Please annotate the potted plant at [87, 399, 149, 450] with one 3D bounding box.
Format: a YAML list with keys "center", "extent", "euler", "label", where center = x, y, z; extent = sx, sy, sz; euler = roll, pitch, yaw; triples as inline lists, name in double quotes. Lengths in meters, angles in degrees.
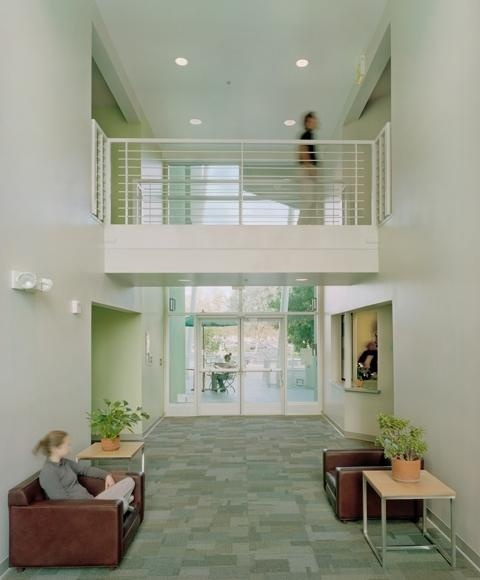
- center: [-1.283, 1.356, 4.763]
  extent: [0.504, 0.403, 0.572]
  euler: [-2, -7, -31]
  label: "potted plant"

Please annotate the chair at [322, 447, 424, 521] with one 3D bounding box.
- center: [1.144, 1.926, 4.554]
  extent: [0.535, 0.544, 0.800]
  euler: [0, -9, 1]
  label: "chair"

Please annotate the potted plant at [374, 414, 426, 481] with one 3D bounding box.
- center: [1.267, 1.261, 3.924]
  extent: [0.378, 0.495, 0.327]
  euler: [-3, -8, -12]
  label: "potted plant"

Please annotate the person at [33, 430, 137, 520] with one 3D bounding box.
- center: [-1.185, 1.449, 3.746]
  extent: [0.685, 0.755, 0.461]
  euler: [1, 3, 1]
  label: "person"

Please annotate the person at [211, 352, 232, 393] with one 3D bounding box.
- center: [-0.397, 1.683, 10.339]
  extent: [0.509, 0.575, 0.788]
  euler: [1, -2, -2]
  label: "person"

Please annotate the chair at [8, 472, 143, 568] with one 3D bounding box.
- center: [-1.159, 1.664, 3.546]
  extent: [0.581, 0.515, 0.853]
  euler: [0, -5, -3]
  label: "chair"

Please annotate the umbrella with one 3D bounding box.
- center: [-0.442, 1.399, 11.278]
  extent: [1.293, 2.566, 1.264]
  euler: [0, -4, 0]
  label: "umbrella"

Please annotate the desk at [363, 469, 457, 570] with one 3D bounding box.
- center: [1.271, 1.742, 3.818]
  extent: [0.493, 0.541, 0.841]
  euler: [-1, -9, 1]
  label: "desk"
